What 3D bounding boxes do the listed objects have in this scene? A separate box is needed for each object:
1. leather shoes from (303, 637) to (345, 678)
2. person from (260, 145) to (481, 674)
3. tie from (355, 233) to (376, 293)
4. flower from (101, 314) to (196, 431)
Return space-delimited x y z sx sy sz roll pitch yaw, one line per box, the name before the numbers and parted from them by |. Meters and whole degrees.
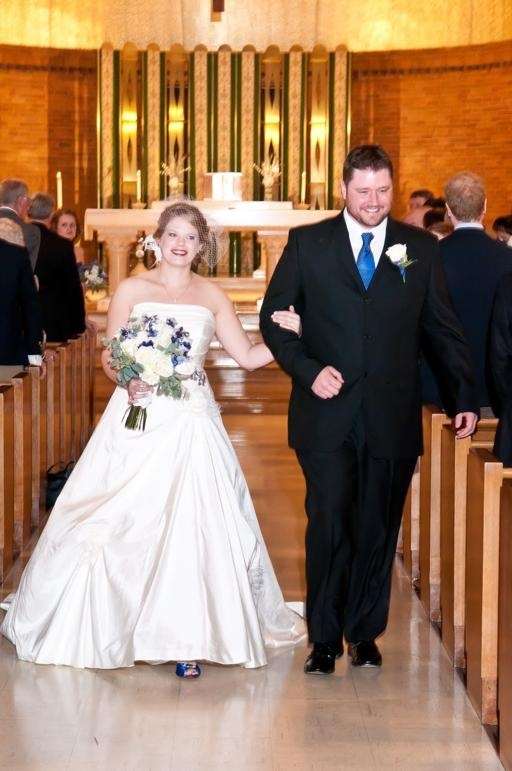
leather shoes | 0.208 0.853 2.210 0.063 0.130 0.171 0 -8 27
person | 0.334 0.191 2.096 0.652 1.437 0.387 1 -2 0
tie | 0.316 -0.353 2.027 0.057 0.165 0.070 0 -2 8
flower | -0.344 -0.041 2.342 0.296 0.395 0.278 1 -2 -5
